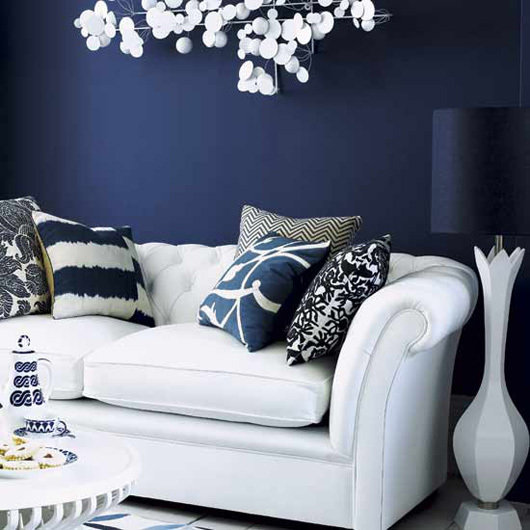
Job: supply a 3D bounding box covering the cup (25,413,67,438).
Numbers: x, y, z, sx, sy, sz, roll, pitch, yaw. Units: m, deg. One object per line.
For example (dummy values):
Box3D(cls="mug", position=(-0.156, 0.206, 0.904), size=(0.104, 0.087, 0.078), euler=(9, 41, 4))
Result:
Box3D(cls="cup", position=(-0.504, 0.370, 1.385), size=(0.064, 0.034, 0.051), euler=(3, -4, 3))
